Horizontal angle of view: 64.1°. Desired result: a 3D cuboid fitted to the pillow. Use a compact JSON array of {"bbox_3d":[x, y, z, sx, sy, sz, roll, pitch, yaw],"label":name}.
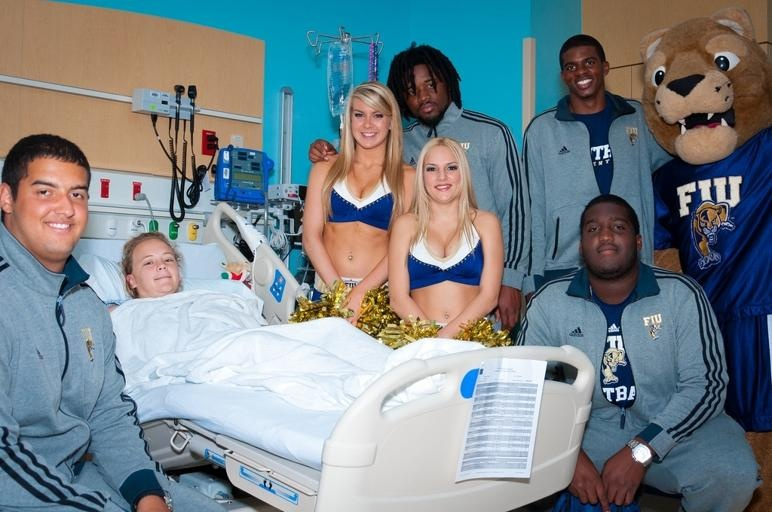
[{"bbox_3d":[-1.376,0.171,3.895,0.919,0.266,0.473,8,15,-44],"label":"pillow"}]
